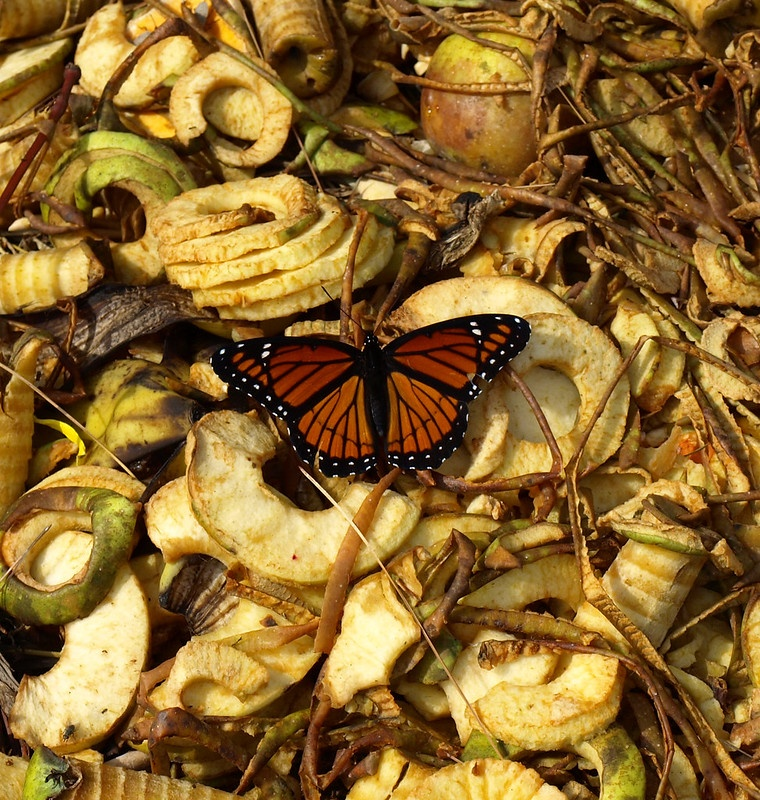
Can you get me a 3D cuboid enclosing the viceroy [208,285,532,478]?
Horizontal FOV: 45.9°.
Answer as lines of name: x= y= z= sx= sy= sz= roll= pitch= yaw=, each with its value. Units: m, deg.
viceroy: x=-0.010 y=0.002 z=1.588 sx=0.548 sy=0.191 sz=0.240 roll=-5 pitch=79 yaw=-1
